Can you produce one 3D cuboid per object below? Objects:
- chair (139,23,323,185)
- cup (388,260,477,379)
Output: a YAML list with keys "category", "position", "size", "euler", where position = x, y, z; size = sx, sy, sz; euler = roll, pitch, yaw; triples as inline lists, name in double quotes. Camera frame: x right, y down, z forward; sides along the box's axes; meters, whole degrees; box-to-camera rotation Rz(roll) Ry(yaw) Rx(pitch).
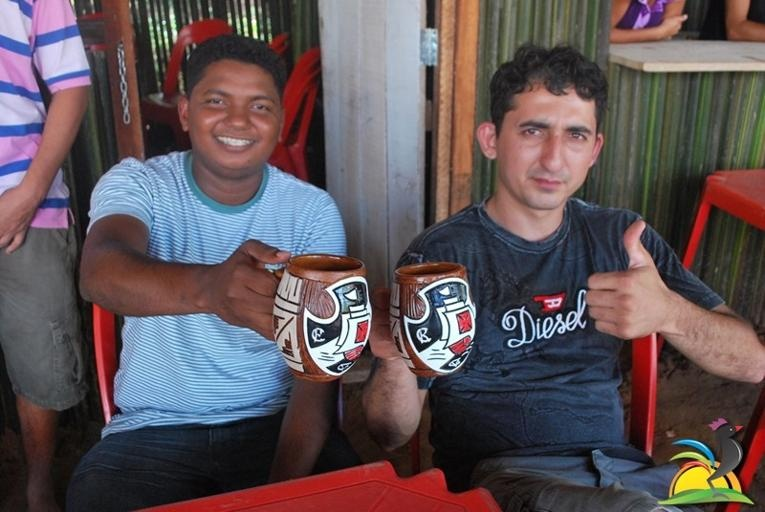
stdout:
- category: "chair"
  position: [-0.804, -0.854, 3.393]
  size: [0.727, 1.072, 0.795]
  euler: [16, 21, 12]
- category: "cup"
  position: [0.144, 0.145, 1.617]
  size: [0.267, 0.335, 0.266]
  euler: [-2, 7, 0]
